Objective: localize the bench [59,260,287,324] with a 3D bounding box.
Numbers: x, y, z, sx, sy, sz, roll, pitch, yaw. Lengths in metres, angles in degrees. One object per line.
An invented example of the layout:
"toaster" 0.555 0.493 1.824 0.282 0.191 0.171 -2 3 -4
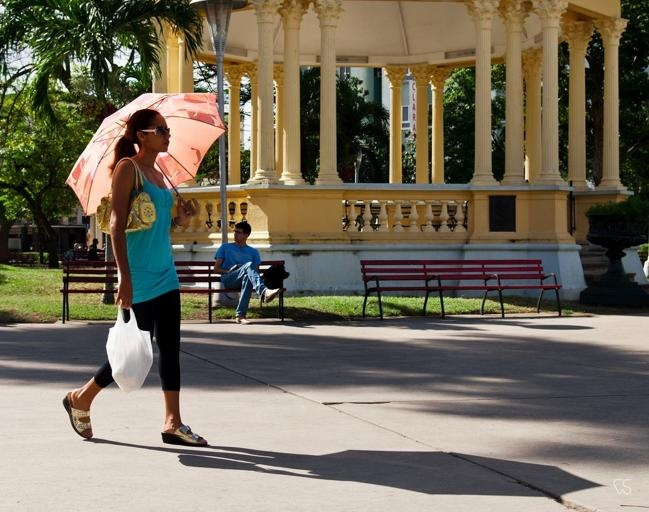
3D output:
"bench" -2.434 0.498 16.516 3.674 0.986 0.734 0 3 -2

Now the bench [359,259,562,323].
"bench" 2.505 0.586 18.252 3.548 0.831 0.794 -1 -8 22

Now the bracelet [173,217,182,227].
"bracelet" -1.281 -0.299 8.901 0.089 0.057 0.085 3 -4 -30

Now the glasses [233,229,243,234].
"glasses" -1.371 -0.390 16.129 0.175 0.097 0.189 0 -6 -3

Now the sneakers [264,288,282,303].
"sneakers" -0.773 0.570 14.899 0.258 0.212 0.380 0 4 -3

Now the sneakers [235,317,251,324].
"sneakers" -1.248 0.988 15.530 0.223 0.079 0.086 8 3 26

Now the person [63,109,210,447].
"person" -1.528 0.154 8.512 1.049 2.786 0.728 0 4 -10

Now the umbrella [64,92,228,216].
"umbrella" -1.592 -1.122 9.765 1.359 0.467 1.318 -35 -4 -6

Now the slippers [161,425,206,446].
"slippers" -1.161 1.486 8.414 0.331 0.121 0.162 1 2 2
